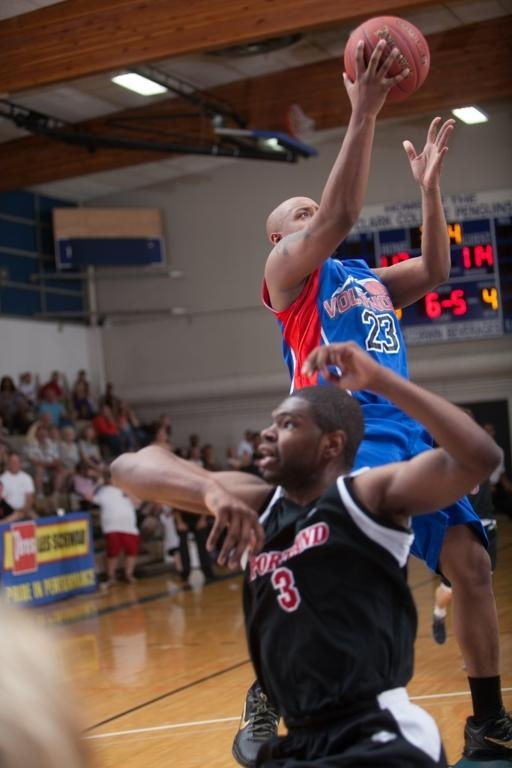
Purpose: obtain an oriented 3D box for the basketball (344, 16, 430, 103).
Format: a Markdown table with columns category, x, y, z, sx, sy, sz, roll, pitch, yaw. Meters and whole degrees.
| category | x | y | z | sx | sy | sz | roll | pitch | yaw |
| --- | --- | --- | --- | --- | --- | --- | --- | --- | --- |
| basketball | 0.361 | -0.872 | 1.586 | 0.194 | 0.231 | 0.199 | -5 | 22 | 37 |
